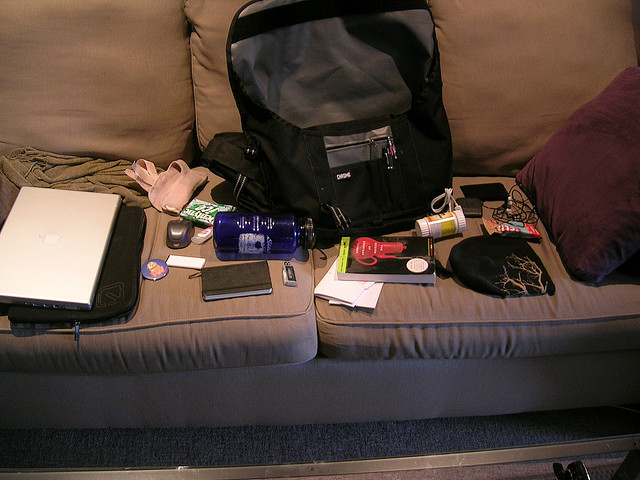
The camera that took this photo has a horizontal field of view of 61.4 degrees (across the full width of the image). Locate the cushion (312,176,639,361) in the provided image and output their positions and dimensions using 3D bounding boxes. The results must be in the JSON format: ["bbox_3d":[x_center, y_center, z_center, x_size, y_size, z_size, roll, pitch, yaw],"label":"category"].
[{"bbox_3d":[0.484,0.085,1.486,0.685,0.168,0.417,0,71,1],"label":"cushion"}]

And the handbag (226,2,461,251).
[{"bbox_3d":[0.057,-0.377,1.803,0.543,0.639,0.370,-16,37,-4],"label":"handbag"}]

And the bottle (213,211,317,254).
[{"bbox_3d":[-0.181,-0.027,1.775,0.316,0.152,0.152,0,11,-9],"label":"bottle"}]

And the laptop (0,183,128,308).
[{"bbox_3d":[-0.782,0.013,1.663,0.293,0.058,0.442,3,56,-8],"label":"laptop"}]

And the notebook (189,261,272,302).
[{"bbox_3d":[-0.264,0.125,1.667,0.198,0.029,0.124,-4,42,-7],"label":"notebook"}]

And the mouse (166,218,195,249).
[{"bbox_3d":[-0.473,-0.041,1.810,0.096,0.051,0.156,-1,36,-9],"label":"mouse"}]

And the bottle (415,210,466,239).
[{"bbox_3d":[0.408,-0.054,1.858,0.136,0.091,0.085,-12,7,-1],"label":"bottle"}]

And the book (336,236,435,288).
[{"bbox_3d":[0.216,0.050,1.726,0.270,0.047,0.163,2,63,4],"label":"book"}]
